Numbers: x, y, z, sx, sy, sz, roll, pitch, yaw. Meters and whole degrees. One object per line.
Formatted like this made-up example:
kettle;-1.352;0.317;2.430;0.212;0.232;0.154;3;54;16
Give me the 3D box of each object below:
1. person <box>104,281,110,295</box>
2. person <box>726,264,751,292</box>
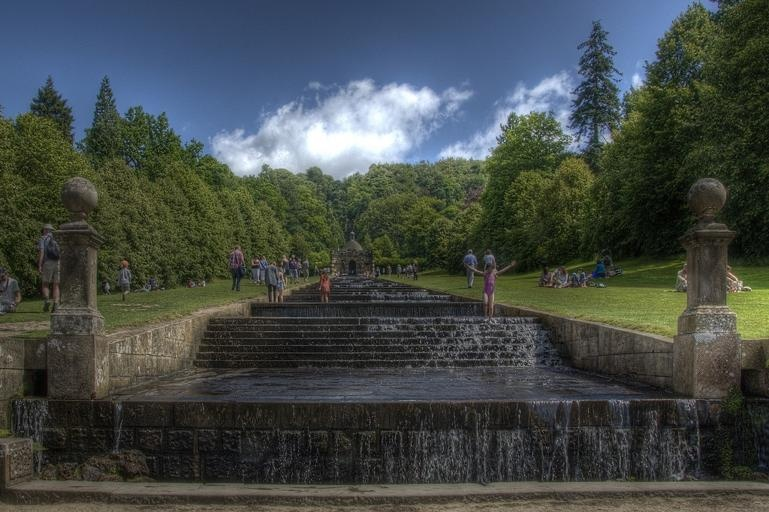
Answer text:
person;-14.271;1.609;40.562;0.300;0.688;0.998;-2;8;-22
person;12.981;0.844;28.977;0.975;0.992;0.929;-7;0;37
